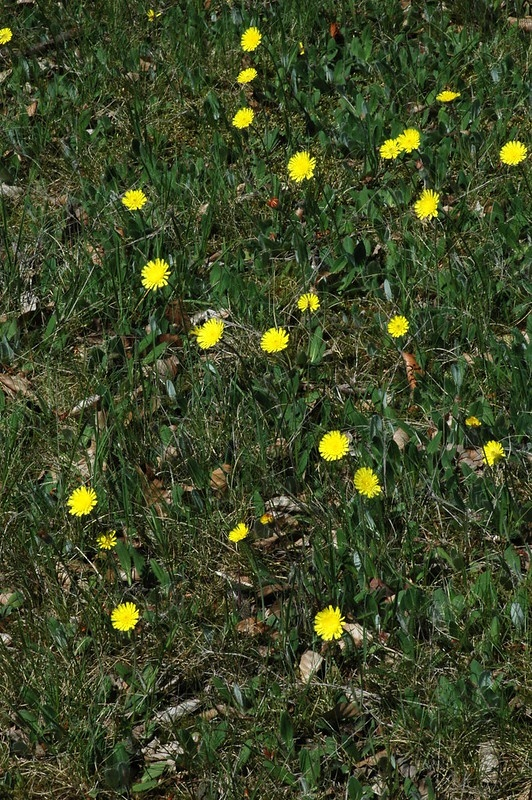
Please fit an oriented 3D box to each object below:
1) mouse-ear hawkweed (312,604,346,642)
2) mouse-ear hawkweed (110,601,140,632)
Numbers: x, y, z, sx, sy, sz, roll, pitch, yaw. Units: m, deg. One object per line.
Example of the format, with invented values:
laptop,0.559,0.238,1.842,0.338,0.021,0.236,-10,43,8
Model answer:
mouse-ear hawkweed,0.124,0.453,1.415,0.054,0.081,0.083,6,54,8
mouse-ear hawkweed,-0.306,0.469,1.527,0.066,0.027,0.070,-36,49,17
